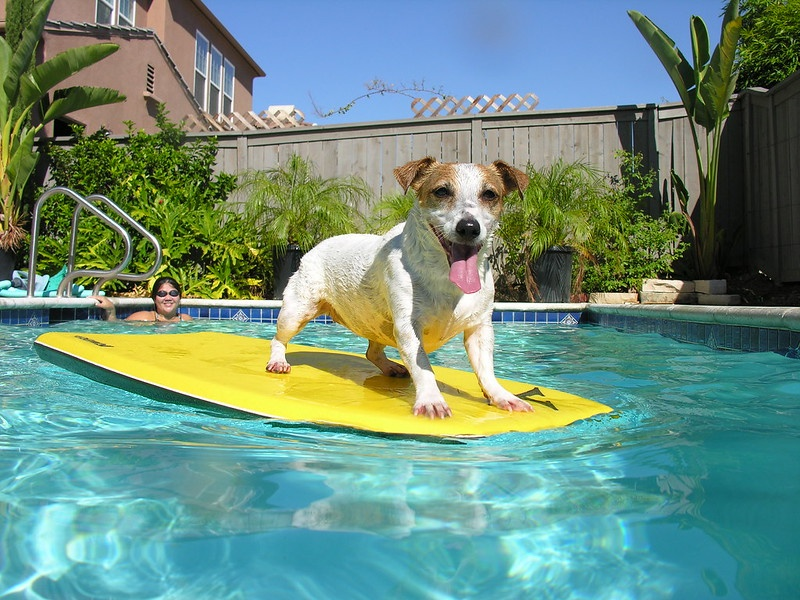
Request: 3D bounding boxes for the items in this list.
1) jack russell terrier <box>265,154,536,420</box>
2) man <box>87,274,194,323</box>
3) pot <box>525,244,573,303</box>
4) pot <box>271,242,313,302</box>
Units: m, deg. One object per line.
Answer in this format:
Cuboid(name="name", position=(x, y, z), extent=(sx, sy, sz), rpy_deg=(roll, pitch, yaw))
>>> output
Cuboid(name="jack russell terrier", position=(0.038, -0.109, 2.539), extent=(0.544, 1.069, 1.182), rpy_deg=(-2, 6, -36))
Cuboid(name="man", position=(-2.955, 0.006, 6.324), extent=(0.963, 0.530, 0.485), rpy_deg=(-1, 5, -24))
Cuboid(name="pot", position=(1.903, -0.334, 7.248), extent=(0.584, 0.707, 0.629), rpy_deg=(0, 0, 0))
Cuboid(name="pot", position=(-1.475, -0.424, 7.484), extent=(0.650, 1.146, 0.538), rpy_deg=(-1, 11, -23))
